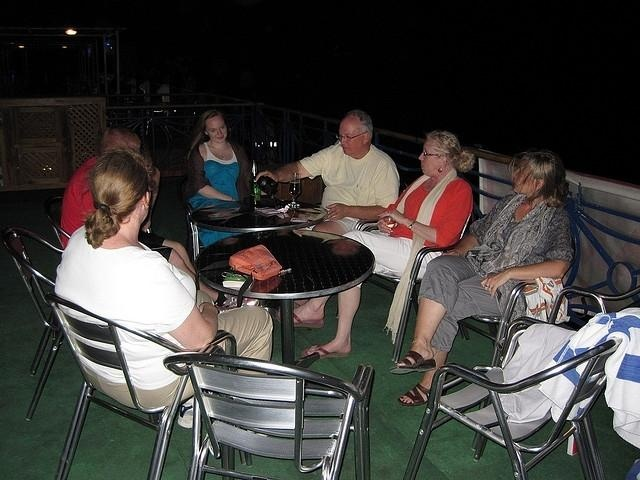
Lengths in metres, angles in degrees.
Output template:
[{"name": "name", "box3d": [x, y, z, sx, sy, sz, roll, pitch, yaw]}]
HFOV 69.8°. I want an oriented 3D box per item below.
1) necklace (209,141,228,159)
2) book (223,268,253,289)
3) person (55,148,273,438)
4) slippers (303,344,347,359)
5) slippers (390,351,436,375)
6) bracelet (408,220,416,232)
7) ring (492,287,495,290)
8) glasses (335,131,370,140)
[{"name": "necklace", "box3d": [-0.934, -0.809, 4.159, 0.099, 0.154, 0.155, -1, -10, 16]}, {"name": "book", "box3d": [-0.460, 0.210, 2.431, 0.106, 0.041, 0.087, 10, 19, 26]}, {"name": "person", "box3d": [-0.651, 0.184, 1.963, 0.617, 1.098, 0.669, 13, 16, 30]}, {"name": "slippers", "box3d": [0.034, 0.795, 3.252, 0.297, 0.077, 0.113, 5, -6, -7]}, {"name": "slippers", "box3d": [0.567, 0.751, 2.851, 0.231, 0.079, 0.154, 0, -3, -19]}, {"name": "bracelet", "box3d": [0.645, -0.100, 3.240, 0.050, 0.066, 0.028, -3, -6, 15]}, {"name": "ring", "box3d": [1.047, 0.295, 2.784, 0.018, 0.016, 0.017, -1, 6, 0]}, {"name": "glasses", "box3d": [0.298, -0.848, 3.760, 0.200, 0.053, 0.197, -9, 14, -36]}]
